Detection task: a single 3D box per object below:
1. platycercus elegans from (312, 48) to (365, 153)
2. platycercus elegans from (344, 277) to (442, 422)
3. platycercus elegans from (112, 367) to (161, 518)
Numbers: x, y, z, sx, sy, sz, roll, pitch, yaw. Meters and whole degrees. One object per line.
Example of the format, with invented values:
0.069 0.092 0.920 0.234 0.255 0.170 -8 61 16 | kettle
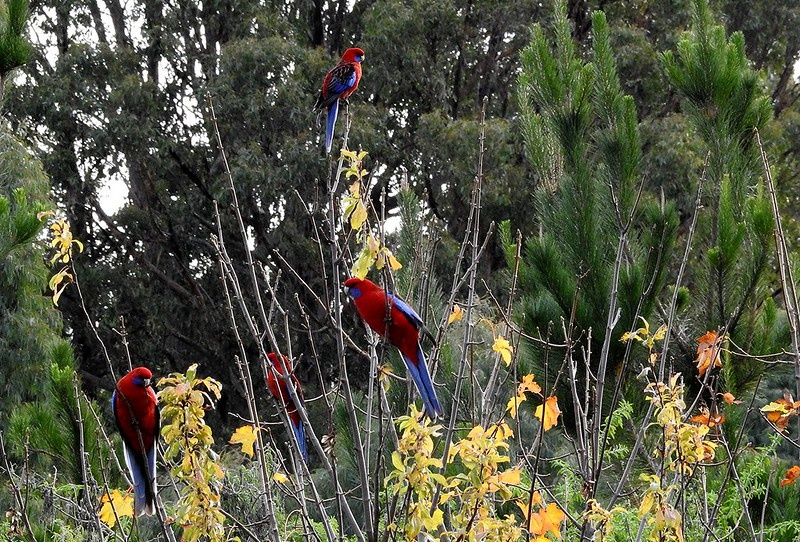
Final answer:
-0.573 -1.580 10.026 0.392 1.121 0.260 8 -19 -13 | platycercus elegans
-0.050 0.517 7.524 0.481 0.983 0.741 -3 0 -21 | platycercus elegans
-1.852 1.140 7.551 0.289 1.433 0.440 1 0 9 | platycercus elegans
